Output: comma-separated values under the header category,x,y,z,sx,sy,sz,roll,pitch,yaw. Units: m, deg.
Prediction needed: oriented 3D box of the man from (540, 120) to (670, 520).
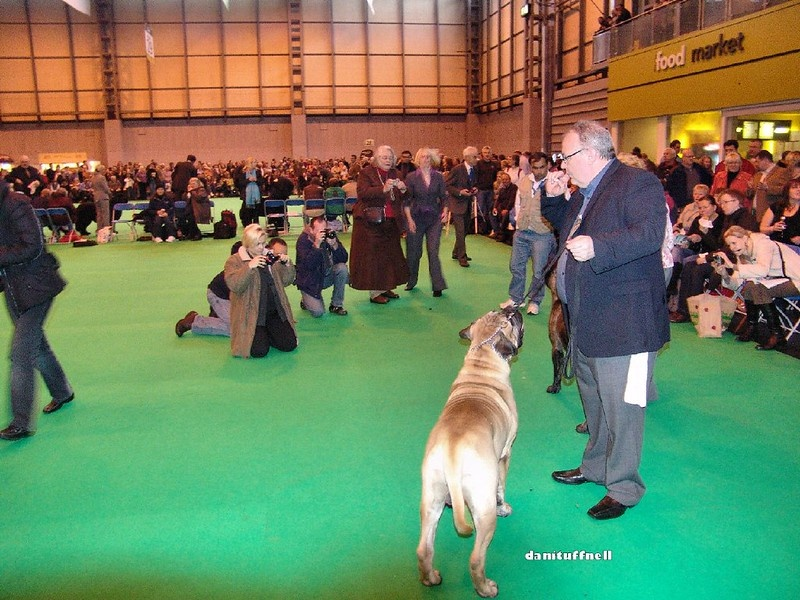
category,x,y,z,sx,sy,sz,roll,pitch,yaw
man,1.224,0.158,3.348,0.792,2.483,0.737,9,18,38

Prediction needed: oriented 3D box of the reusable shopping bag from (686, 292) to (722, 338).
category,x,y,z,sx,sy,sz,roll,pitch,yaw
reusable shopping bag,3.917,0.179,6.832,0.374,0.689,0.552,1,2,33

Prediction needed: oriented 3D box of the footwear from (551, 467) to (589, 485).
category,x,y,z,sx,sy,sz,roll,pitch,yaw
footwear,1.217,1.262,3.804,0.262,0.114,0.100,3,16,11

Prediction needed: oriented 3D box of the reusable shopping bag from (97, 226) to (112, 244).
category,x,y,z,sx,sy,sz,roll,pitch,yaw
reusable shopping bag,-8.762,-1.926,15.749,0.392,0.578,0.190,8,-15,-22

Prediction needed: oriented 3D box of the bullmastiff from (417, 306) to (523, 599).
category,x,y,z,sx,sy,sz,roll,pitch,yaw
bullmastiff,0.494,0.646,3.256,0.463,1.139,1.838,6,35,15

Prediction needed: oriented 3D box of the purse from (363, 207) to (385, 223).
category,x,y,z,sx,sy,sz,roll,pitch,yaw
purse,-0.399,-1.244,7.894,0.354,0.265,0.211,3,34,5

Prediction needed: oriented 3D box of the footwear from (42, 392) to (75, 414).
category,x,y,z,sx,sy,sz,roll,pitch,yaw
footwear,-3.276,0.984,5.110,0.100,0.109,0.299,-5,6,14

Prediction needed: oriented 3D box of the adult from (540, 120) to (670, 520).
category,x,y,z,sx,sy,sz,roll,pitch,yaw
adult,1.230,0.160,3.339,0.777,2.483,0.732,9,18,37
